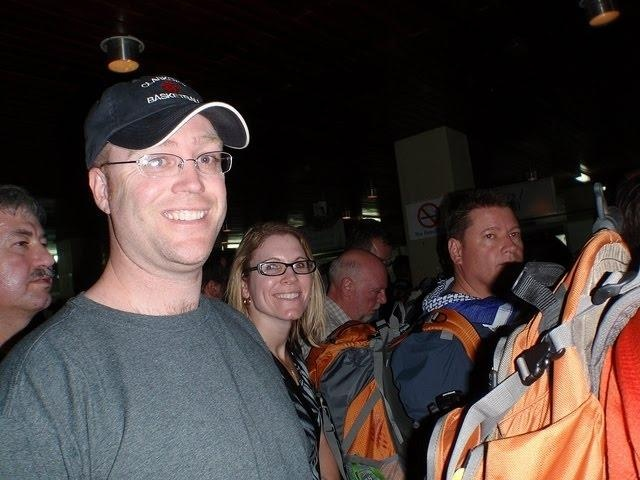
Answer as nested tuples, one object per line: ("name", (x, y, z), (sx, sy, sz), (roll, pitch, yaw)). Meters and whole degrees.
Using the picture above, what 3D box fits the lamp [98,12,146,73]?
("lamp", (-1.750, -1.754, 4.486), (0.395, 0.388, 0.361), (-1, 22, 5))

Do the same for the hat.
("hat", (-0.491, -0.386, 1.628), (0.490, 0.221, 0.331), (-15, 7, 22))
